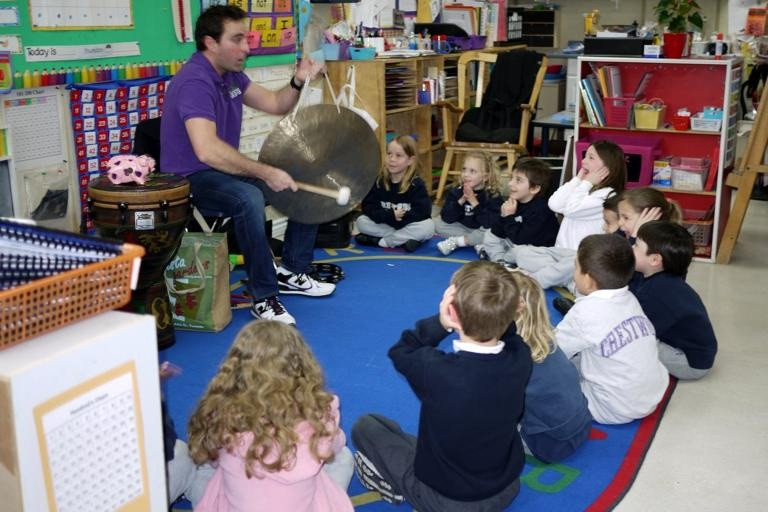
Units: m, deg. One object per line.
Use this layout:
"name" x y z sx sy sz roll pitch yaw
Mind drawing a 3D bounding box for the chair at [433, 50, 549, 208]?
"chair" 1.118 -1.287 5.784 1.041 1.715 1.067 -9 19 -44

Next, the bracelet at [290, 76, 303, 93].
"bracelet" -0.568 -1.082 3.551 0.079 0.046 0.090 7 -13 -3

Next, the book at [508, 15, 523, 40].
"book" 1.791 -3.192 7.830 0.139 0.356 0.397 9 20 24

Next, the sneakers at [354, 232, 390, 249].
"sneakers" -0.115 -0.112 4.537 0.313 0.105 0.124 7 -7 6

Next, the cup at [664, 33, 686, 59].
"cup" 2.219 -1.608 4.293 0.166 0.196 0.226 12 21 30

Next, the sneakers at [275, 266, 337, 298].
"sneakers" -0.478 0.166 3.753 0.481 0.204 0.159 2 22 -1

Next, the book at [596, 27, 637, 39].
"book" 1.833 -1.768 4.437 0.290 0.107 0.256 7 19 17

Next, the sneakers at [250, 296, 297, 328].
"sneakers" -0.614 0.305 3.011 0.288 0.131 0.107 11 30 23

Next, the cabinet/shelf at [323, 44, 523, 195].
"cabinet/shelf" 0.352 -1.213 4.955 0.530 1.035 1.674 6 23 24

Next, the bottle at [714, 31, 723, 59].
"bottle" 2.516 -1.576 4.207 0.055 0.182 0.255 9 20 24

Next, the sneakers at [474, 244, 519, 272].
"sneakers" 0.713 0.009 3.467 0.272 0.116 0.084 12 34 21

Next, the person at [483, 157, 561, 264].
"person" 1.056 -0.318 4.195 0.567 0.773 0.541 -3 2 13

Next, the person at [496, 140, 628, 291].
"person" 1.321 -0.312 4.010 0.780 1.000 0.750 1 5 -9

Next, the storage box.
"storage box" 1.912 -0.787 4.620 0.621 0.348 0.448 8 27 27

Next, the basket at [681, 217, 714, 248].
"basket" 2.471 -0.193 4.433 0.276 0.208 0.282 3 17 19

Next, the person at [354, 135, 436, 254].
"person" 0.118 -0.504 4.521 0.609 0.820 0.689 -17 24 -37

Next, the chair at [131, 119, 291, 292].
"chair" -1.104 -0.486 3.798 0.846 1.048 0.808 3 19 7

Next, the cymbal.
"cymbal" -0.336 -0.616 3.302 0.580 0.163 0.589 -17 -15 -3

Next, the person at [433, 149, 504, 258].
"person" 0.658 -0.436 4.509 0.549 0.780 0.619 9 20 25

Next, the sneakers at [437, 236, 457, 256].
"sneakers" 0.492 -0.070 4.431 0.164 0.102 0.070 -26 2 -32

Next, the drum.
"drum" -1.332 0.068 3.017 0.530 0.851 0.534 2 9 0
